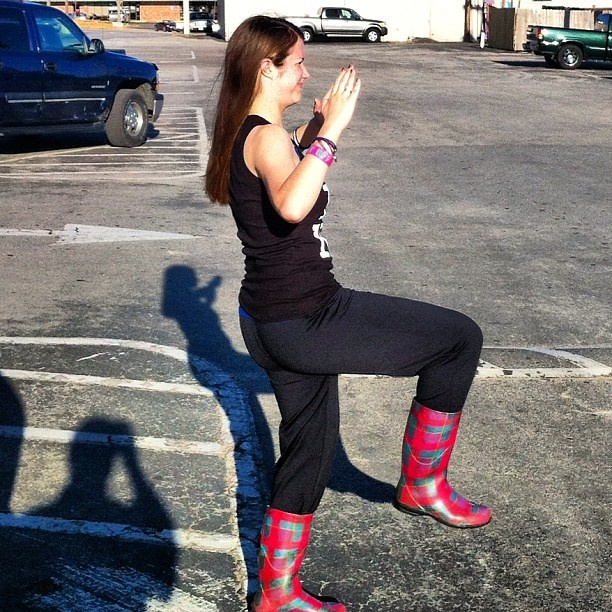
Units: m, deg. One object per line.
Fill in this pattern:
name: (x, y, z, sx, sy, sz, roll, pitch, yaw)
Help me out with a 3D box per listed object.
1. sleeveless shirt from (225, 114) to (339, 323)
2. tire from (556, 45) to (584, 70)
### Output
sleeveless shirt: (-0.064, -0.212, 2.066, 0.363, 0.526, 0.242, 3, 16, -5)
tire: (10.415, -9.917, 26.948, 0.940, 0.754, 0.291, -14, 22, 12)
